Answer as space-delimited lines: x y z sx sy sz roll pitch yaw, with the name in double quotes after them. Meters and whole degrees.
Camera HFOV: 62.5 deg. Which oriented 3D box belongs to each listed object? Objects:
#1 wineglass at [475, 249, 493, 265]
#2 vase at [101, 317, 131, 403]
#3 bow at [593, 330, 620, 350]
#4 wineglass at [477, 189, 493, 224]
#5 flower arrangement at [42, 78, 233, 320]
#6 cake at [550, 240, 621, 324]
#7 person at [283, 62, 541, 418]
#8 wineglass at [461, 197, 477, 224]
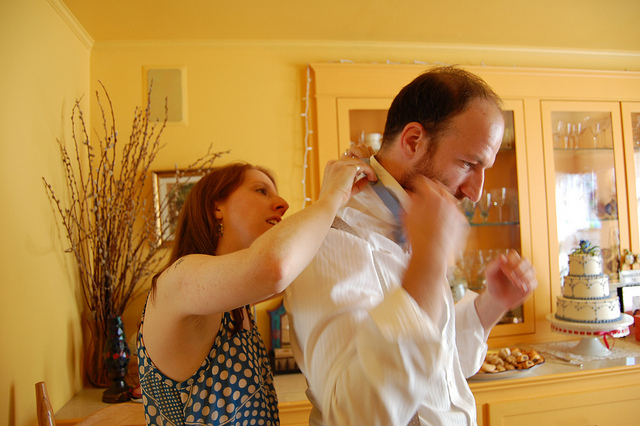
1.122 0.301 3.647 0.101 0.104 0.034 1 -4 -3 "wineglass"
-1.204 0.862 3.130 0.195 0.513 0.099 -1 0 20 "vase"
1.861 0.830 3.473 0.157 0.141 0.124 -1 0 -6 "bow"
1.164 -0.046 3.747 0.107 0.166 0.047 -1 0 -24 "wineglass"
-1.218 -0.110 3.362 0.872 1.572 0.455 -1 0 -17 "flower arrangement"
1.816 0.438 3.615 0.423 0.528 0.443 -2 5 11 "cake"
0.422 0.112 2.295 1.080 1.114 0.562 -1 0 -29 "person"
1.043 -0.010 3.694 0.090 0.127 0.163 -1 -1 16 "wineglass"
